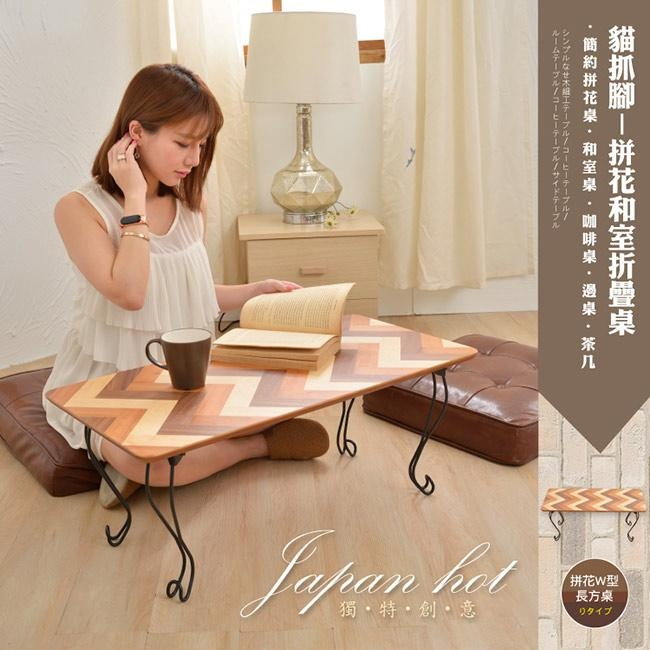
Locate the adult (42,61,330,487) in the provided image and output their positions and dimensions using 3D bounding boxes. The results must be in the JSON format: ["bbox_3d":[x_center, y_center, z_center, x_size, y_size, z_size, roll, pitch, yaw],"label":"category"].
[{"bbox_3d":[-0.358,-0.169,1.648,0.685,0.937,0.720,25,37,31],"label":"adult"}]

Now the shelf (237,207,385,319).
[{"bbox_3d":[-0.063,-0.352,2.845,0.701,0.563,0.464,-2,19,-6],"label":"shelf"}]

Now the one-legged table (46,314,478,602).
[{"bbox_3d":[-0.102,0.117,1.298,0.797,0.076,0.434,-15,21,-35],"label":"one-legged table"}]

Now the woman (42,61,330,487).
[{"bbox_3d":[-0.354,-0.152,1.620,0.779,0.973,0.708,14,26,20],"label":"woman"}]

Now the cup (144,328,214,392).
[{"bbox_3d":[-0.280,0.068,1.186,0.129,0.113,0.096,-1,18,4],"label":"cup"}]
